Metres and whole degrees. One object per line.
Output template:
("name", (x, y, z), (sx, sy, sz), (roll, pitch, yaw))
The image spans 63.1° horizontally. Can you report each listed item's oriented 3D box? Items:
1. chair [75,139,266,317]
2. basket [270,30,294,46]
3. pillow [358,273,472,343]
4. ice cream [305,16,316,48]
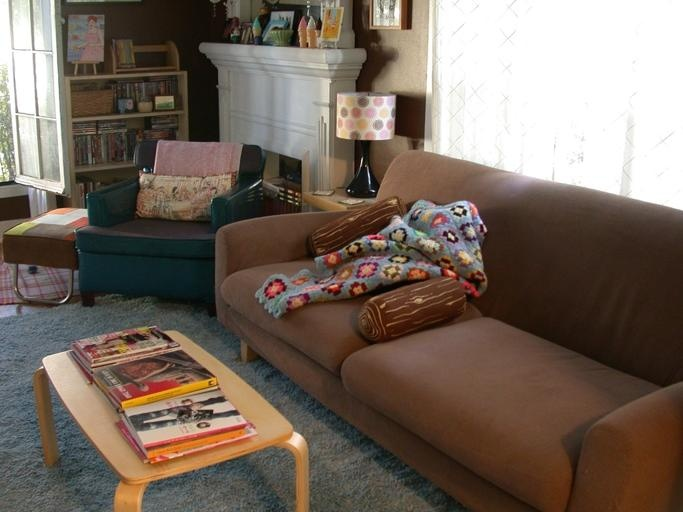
("chair", (-1.042, -0.245, 3.572), (0.910, 0.894, 0.907), (6, 19, 14))
("basket", (-0.443, -1.613, 4.163), (0.145, 0.099, 0.146), (7, 19, 22))
("pillow", (0.293, 0.210, 2.272), (0.456, 0.195, 0.191), (-17, 56, -25))
("ice cream", (-0.205, -1.550, 3.870), (0.079, 0.196, 0.145), (1, 17, -5))
